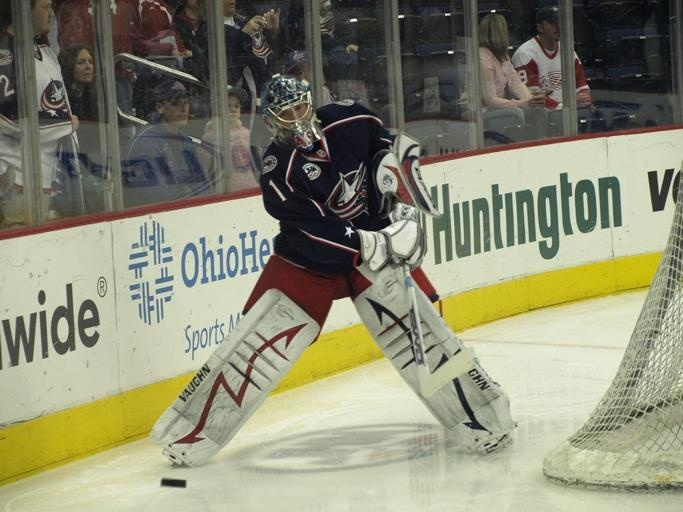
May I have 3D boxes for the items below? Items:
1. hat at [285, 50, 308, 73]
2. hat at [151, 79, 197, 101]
[{"bbox_3d":[-0.328,-1.382,6.652,0.173,0.167,0.129,-1,-1,-20],"label":"hat"},{"bbox_3d":[-1.100,-1.070,5.987,0.170,0.081,0.124,-19,11,-4],"label":"hat"}]
